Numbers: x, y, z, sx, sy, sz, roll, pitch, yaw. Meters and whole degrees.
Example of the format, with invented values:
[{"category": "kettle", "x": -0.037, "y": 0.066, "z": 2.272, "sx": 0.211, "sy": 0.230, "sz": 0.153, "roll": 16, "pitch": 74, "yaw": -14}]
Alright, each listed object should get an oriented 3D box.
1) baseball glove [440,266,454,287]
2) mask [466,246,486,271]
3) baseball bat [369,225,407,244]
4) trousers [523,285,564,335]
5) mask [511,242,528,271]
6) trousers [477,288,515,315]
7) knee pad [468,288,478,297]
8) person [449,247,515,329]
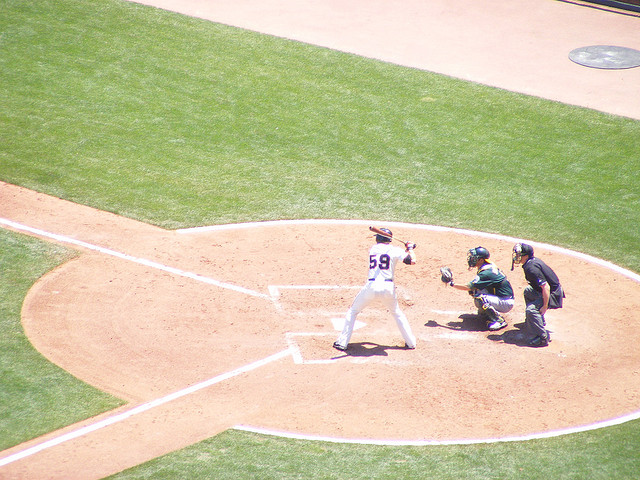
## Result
[{"category": "baseball glove", "x": 2.654, "y": 0.707, "z": 21.378, "sx": 0.228, "sy": 0.209, "sz": 0.399, "roll": -15, "pitch": 67, "yaw": -3}, {"category": "mask", "x": 3.242, "y": 0.372, "z": 21.540, "sx": 0.280, "sy": 0.530, "sz": 0.240, "roll": 23, "pitch": 33, "yaw": 3}, {"category": "baseball bat", "x": 1.499, "y": -0.120, "z": 22.653, "sx": 1.269, "sy": 0.113, "sz": 0.182, "roll": 17, "pitch": 8, "yaw": -17}, {"category": "trousers", "x": 4.439, "y": 1.441, "z": 21.078, "sx": 0.537, "sy": 0.960, "sz": 0.951, "roll": 8, "pitch": 30, "yaw": -19}, {"category": "mask", "x": 4.151, "y": 0.307, "z": 21.304, "sx": 0.292, "sy": 0.621, "sz": 0.415, "roll": 26, "pitch": 32, "yaw": 7}, {"category": "trousers", "x": 3.761, "y": 1.288, "z": 21.320, "sx": 0.713, "sy": 0.184, "sz": 0.714, "roll": 25, "pitch": 23, "yaw": 38}, {"category": "knee pad", "x": 3.237, "y": 1.085, "z": 21.481, "sx": 0.219, "sy": 0.123, "sz": 0.037, "roll": 0, "pitch": 27, "yaw": 11}, {"category": "person", "x": 3.537, "y": 0.997, "z": 21.355, "sx": 1.565, "sy": 1.524, "sz": 0.745, "roll": 29, "pitch": 33, "yaw": 23}]
